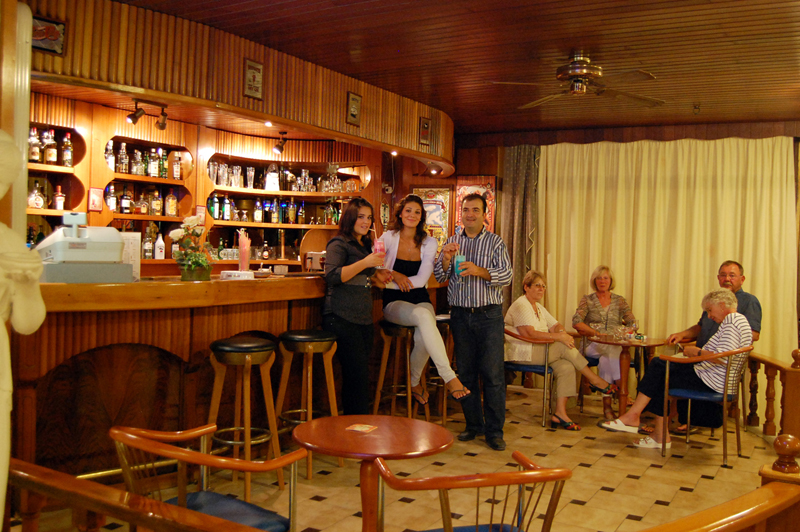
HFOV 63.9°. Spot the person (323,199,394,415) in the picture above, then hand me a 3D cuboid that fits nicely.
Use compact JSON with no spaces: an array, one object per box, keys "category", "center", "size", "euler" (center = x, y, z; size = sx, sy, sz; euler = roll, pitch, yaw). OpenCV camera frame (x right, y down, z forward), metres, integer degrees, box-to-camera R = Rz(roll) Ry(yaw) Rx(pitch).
[{"category":"person","center":[-0.382,0.346,5.550],"size":[0.547,1.878,0.618],"euler":[1,5,-16]}]

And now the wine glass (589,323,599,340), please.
[{"category":"wine glass","center":[2.139,0.722,7.061],"size":[0.054,0.179,0.114],"euler":[-11,-22,42]}]

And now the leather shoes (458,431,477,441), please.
[{"category":"leather shoes","center":[0.629,1.614,6.080],"size":[0.147,0.058,0.074],"euler":[6,-6,-27]}]

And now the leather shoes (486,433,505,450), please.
[{"category":"leather shoes","center":[0.875,1.611,5.887],"size":[0.146,0.115,0.167],"euler":[1,4,-9]}]

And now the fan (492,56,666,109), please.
[{"category":"fan","center":[1.728,-1.754,6.152],"size":[1.004,0.242,0.930],"euler":[1,-5,-24]}]

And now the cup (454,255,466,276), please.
[{"category":"cup","center":[0.536,-0.006,5.841],"size":[0.099,0.173,0.200],"euler":[2,4,3]}]

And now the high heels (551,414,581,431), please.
[{"category":"high heels","center":[1.684,1.625,6.595],"size":[0.330,0.132,0.119],"euler":[-2,-3,14]}]

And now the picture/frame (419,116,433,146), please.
[{"category":"picture/frame","center":[0.304,-1.673,7.920],"size":[0.060,0.429,0.415],"euler":[-1,-2,25]}]

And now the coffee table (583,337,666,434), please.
[{"category":"coffee table","center":[2.416,1.224,6.986],"size":[0.979,0.955,0.979],"euler":[2,-2,-24]}]

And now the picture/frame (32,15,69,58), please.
[{"category":"picture/frame","center":[-2.893,-1.892,5.230],"size":[0.036,0.284,0.350],"euler":[22,17,20]}]
